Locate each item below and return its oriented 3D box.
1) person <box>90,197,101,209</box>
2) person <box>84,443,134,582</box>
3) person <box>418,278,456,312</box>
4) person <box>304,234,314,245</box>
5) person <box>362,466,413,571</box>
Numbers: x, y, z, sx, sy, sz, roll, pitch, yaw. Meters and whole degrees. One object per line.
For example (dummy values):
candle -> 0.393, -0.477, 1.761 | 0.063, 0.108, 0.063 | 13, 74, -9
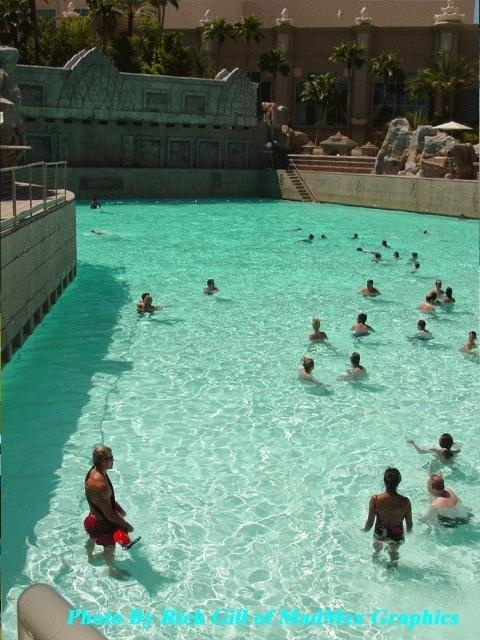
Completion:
person -> -7.810, -6.331, 29.422 | 0.568, 0.583, 2.176 | -3, 16, -15
person -> -1.188, 1.661, 4.852 | 0.381, 1.259, 0.487 | -4, 15, -18
person -> 4.929, -0.515, 13.607 | 0.735, 0.446, 1.029 | 17, 45, 24
person -> 2.855, -3.334, 22.278 | 0.250, 0.493, 0.877 | -7, 11, -10
person -> 1.429, 2.005, 5.326 | 0.471, 1.325, 0.394 | 8, 27, 22
